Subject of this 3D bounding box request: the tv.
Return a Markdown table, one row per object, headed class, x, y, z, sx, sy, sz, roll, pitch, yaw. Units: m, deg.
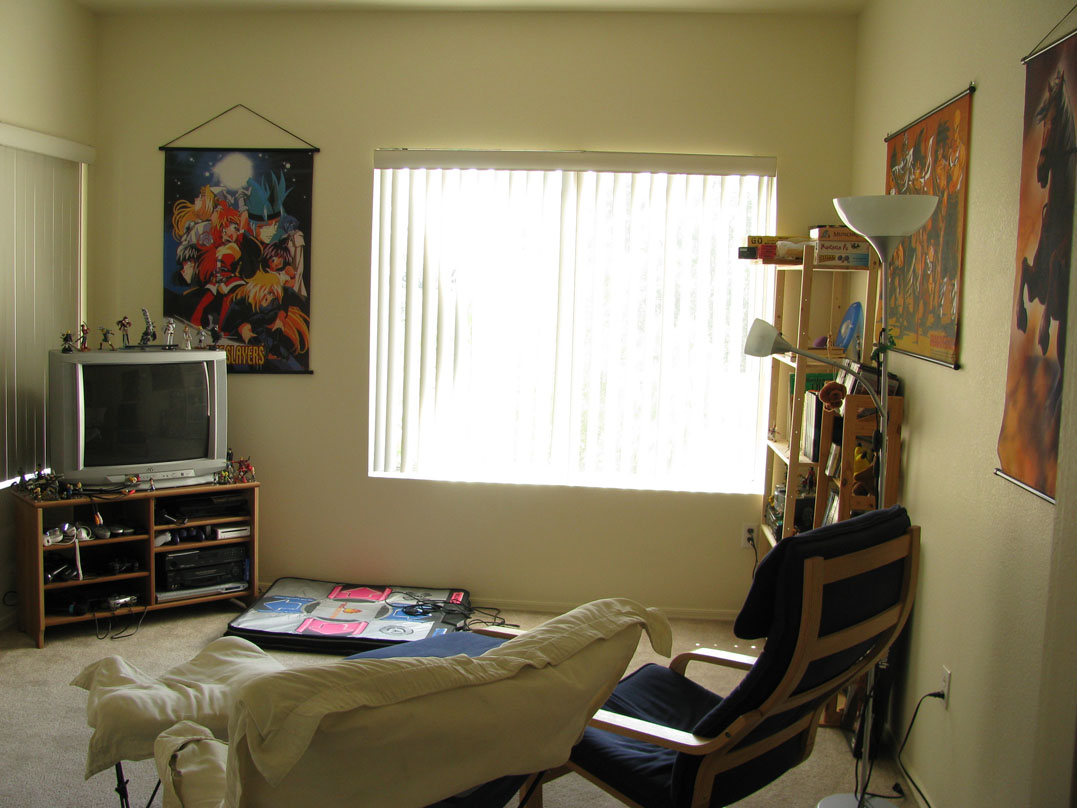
| class | x | y | z | sx | sy | sz | roll | pitch | yaw |
| --- | --- | --- | --- | --- | --- | --- | --- | --- | --- |
| tv | -2.179 | 0.036 | 4.719 | 1.013 | 0.939 | 0.626 | -1 | 2 | -32 |
